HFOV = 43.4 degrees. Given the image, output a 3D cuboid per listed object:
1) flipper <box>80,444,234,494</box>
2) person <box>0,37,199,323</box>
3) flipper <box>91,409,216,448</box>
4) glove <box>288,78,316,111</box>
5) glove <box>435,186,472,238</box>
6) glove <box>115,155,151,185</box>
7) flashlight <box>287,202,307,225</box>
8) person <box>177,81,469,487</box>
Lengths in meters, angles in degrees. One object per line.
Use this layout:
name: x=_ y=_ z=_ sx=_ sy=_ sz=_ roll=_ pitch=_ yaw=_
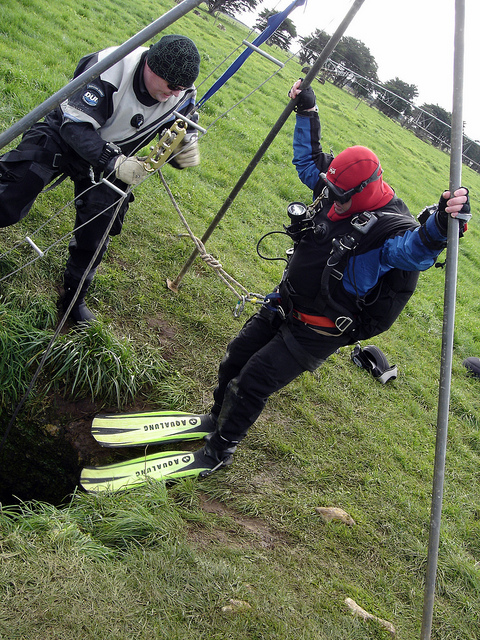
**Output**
flipper: x=-0.500 y=0.957 z=3.991 sx=1.019 sy=0.136 sz=0.310 roll=1 pitch=32 yaw=-28
person: x=-1.006 y=-0.934 z=3.883 sx=0.814 sy=1.521 sz=0.974 roll=31 pitch=12 yaw=-13
flipper: x=-0.616 y=0.747 z=4.215 sx=0.959 sy=0.118 sz=0.270 roll=2 pitch=57 yaw=-35
glove: x=0.437 y=-1.511 z=4.043 sx=0.152 sy=0.086 sz=0.190 roll=-19 pitch=78 yaw=-51
glove: x=1.075 y=-0.530 z=3.025 sx=0.176 sy=0.219 sz=0.102 roll=10 pitch=15 yaw=40
glove: x=-0.627 y=-0.870 z=3.464 sx=0.184 sy=0.137 sz=0.100 roll=28 pitch=12 yaw=-16
flashlight: x=0.352 y=-0.691 z=3.864 sx=0.127 sy=0.136 sz=0.173 roll=31 pitch=12 yaw=-5
person: x=0.281 y=0.052 z=3.797 sx=0.713 sy=2.545 sz=1.505 roll=28 pitch=13 yaw=-31
